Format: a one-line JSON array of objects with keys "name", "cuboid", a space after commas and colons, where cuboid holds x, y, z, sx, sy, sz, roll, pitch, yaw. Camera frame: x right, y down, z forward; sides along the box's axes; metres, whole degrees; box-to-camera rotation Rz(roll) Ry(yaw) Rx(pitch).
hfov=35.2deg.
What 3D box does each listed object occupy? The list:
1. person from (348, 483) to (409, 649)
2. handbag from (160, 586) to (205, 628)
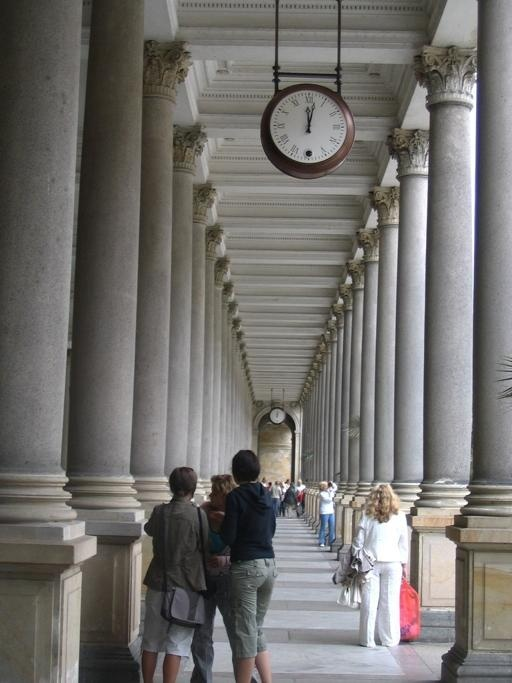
[{"name": "person", "cuboid": [1.441, 2.611, 9.423, 0.623, 1.858, 0.396, 1, -9, 10]}, {"name": "handbag", "cuboid": [-0.519, 1.913, 5.801, 0.250, 0.224, 0.132, 13, -26, -28]}]
